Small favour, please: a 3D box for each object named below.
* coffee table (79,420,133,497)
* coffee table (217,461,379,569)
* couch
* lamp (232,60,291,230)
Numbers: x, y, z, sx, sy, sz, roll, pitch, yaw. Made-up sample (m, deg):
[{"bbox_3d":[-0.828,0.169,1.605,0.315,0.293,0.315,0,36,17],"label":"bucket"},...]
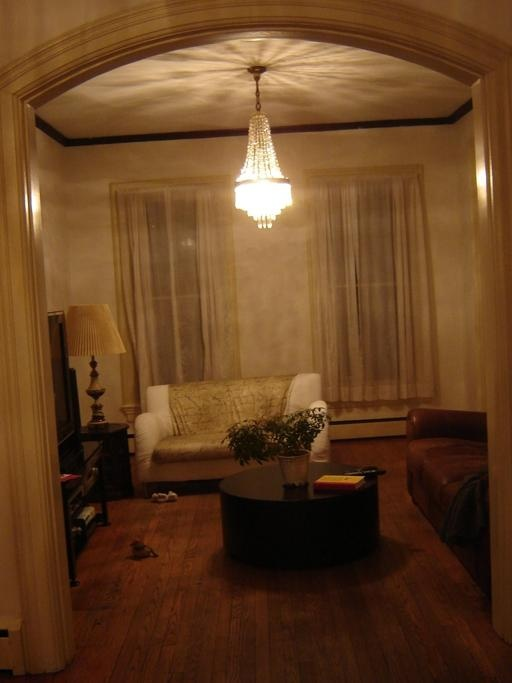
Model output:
[{"bbox_3d":[-1.222,1.029,4.553,0.429,0.537,0.385,-6,-9,-20],"label":"coffee table"},{"bbox_3d":[0.232,0.982,3.008,0.871,0.403,0.583,-4,-2,10],"label":"coffee table"},{"bbox_3d":[-0.194,0.785,4.751,1.620,0.788,0.759,-4,5,3],"label":"couch"},{"bbox_3d":[0.053,-1.533,4.483,0.407,1.013,1.270,-4,-2,4],"label":"lamp"}]
